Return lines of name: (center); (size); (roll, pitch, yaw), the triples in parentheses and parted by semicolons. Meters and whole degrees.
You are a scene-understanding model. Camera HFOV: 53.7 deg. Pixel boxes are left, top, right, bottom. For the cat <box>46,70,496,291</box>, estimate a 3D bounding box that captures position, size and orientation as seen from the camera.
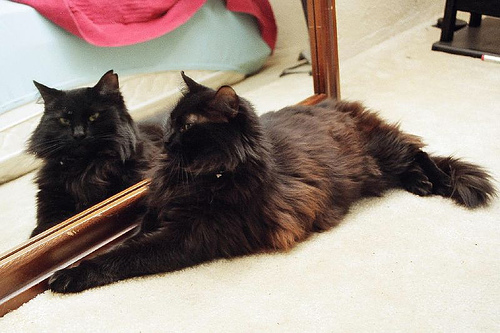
cat: (0.271, 0.013, 2.680); (2.259, 0.846, 0.962); (-17, 27, -19)
